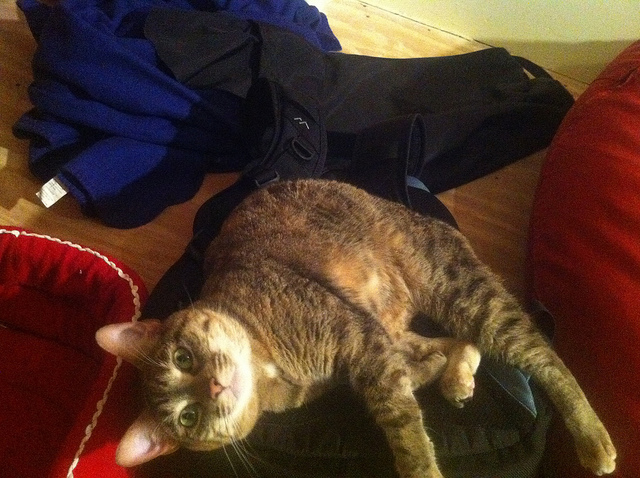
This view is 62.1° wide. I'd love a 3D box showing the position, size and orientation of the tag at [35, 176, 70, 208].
[{"bbox_3d":[-0.769,-0.134,1.530,0.069,0.095,0.028,49,0,-10],"label":"tag"}]
